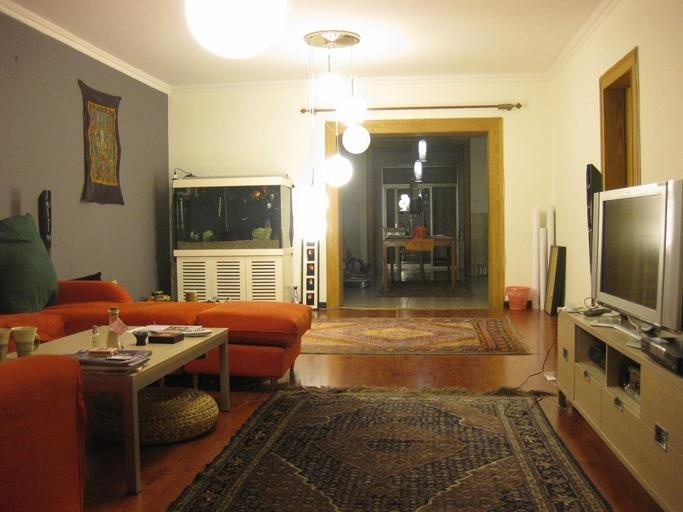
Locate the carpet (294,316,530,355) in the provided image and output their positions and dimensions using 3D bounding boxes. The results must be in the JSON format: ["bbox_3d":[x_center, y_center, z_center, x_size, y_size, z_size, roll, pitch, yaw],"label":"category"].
[{"bbox_3d":[0.745,0.844,5.722,2.274,0.049,1.709,0,5,6],"label":"carpet"}]

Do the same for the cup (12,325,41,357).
[{"bbox_3d":[-1.673,0.452,2.792,0.102,0.146,0.084,-1,4,1],"label":"cup"}]

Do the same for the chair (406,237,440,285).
[{"bbox_3d":[1.698,0.110,10.632,0.883,0.892,0.897,0,0,4],"label":"chair"}]

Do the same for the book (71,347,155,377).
[{"bbox_3d":[-1.231,0.540,2.826,0.452,0.087,0.312,1,5,22],"label":"book"}]

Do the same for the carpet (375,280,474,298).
[{"bbox_3d":[1.464,0.577,9.368,1.550,0.056,2.093,0,5,9],"label":"carpet"}]

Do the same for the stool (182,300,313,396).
[{"bbox_3d":[-0.637,0.672,4.153,0.601,0.474,0.757,1,2,5],"label":"stool"}]

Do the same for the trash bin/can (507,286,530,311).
[{"bbox_3d":[2.424,0.575,7.247,0.337,0.301,0.272,0,5,6],"label":"trash bin/can"}]

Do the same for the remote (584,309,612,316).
[{"bbox_3d":[1.639,0.363,3.409,0.152,0.032,0.071,-6,6,-23],"label":"remote"}]

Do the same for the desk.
[{"bbox_3d":[1.502,0.230,10.424,1.230,0.824,1.300,-1,6,7],"label":"desk"}]

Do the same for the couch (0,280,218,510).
[{"bbox_3d":[-1.350,0.909,3.391,0.903,0.495,1.395,2,4,6],"label":"couch"}]
